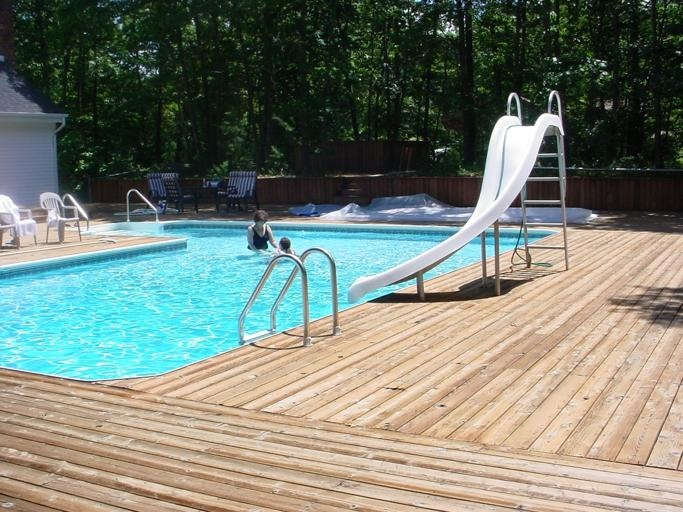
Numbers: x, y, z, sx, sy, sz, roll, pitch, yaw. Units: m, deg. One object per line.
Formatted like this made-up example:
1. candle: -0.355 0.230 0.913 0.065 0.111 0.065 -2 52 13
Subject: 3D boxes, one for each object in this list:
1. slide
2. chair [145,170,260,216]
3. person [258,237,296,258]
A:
1. slide: 1.520 -0.884 7.909 3.822 1.524 0.931 -23 17 -9
2. chair: -5.125 -2.325 20.566 3.434 1.359 3.444 -5 10 -17
3. person: -1.263 -0.158 10.691 0.856 0.339 0.389 17 22 41
